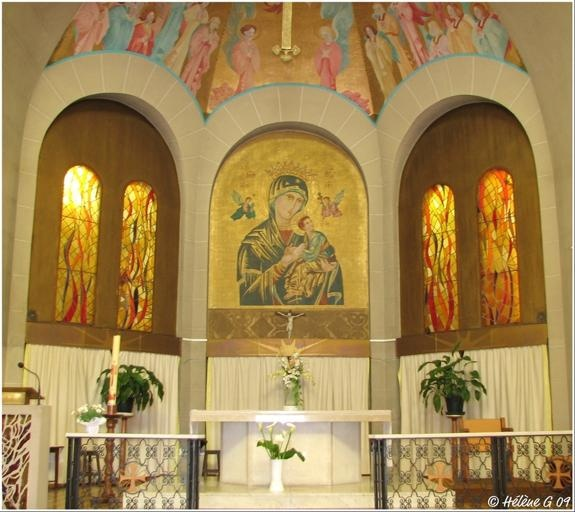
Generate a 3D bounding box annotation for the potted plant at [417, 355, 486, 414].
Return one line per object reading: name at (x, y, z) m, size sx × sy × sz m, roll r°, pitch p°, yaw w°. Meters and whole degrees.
potted plant at (2.771, 2.171, 10.611) m, size 0.985 × 0.816 × 1.035 m, roll -9°, pitch -12°, yaw 31°

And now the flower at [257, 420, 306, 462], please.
flower at (-0.111, 2.679, 8.956) m, size 0.614 × 0.719 × 0.640 m, roll 5°, pitch -14°, yaw -14°

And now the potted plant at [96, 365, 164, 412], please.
potted plant at (-2.597, 2.136, 10.458) m, size 0.867 × 0.658 × 0.962 m, roll 6°, pitch -26°, yaw -6°

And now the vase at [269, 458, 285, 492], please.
vase at (-0.163, 3.039, 8.626) m, size 0.187 × 0.439 × 0.411 m, roll -1°, pitch -18°, yaw -2°
